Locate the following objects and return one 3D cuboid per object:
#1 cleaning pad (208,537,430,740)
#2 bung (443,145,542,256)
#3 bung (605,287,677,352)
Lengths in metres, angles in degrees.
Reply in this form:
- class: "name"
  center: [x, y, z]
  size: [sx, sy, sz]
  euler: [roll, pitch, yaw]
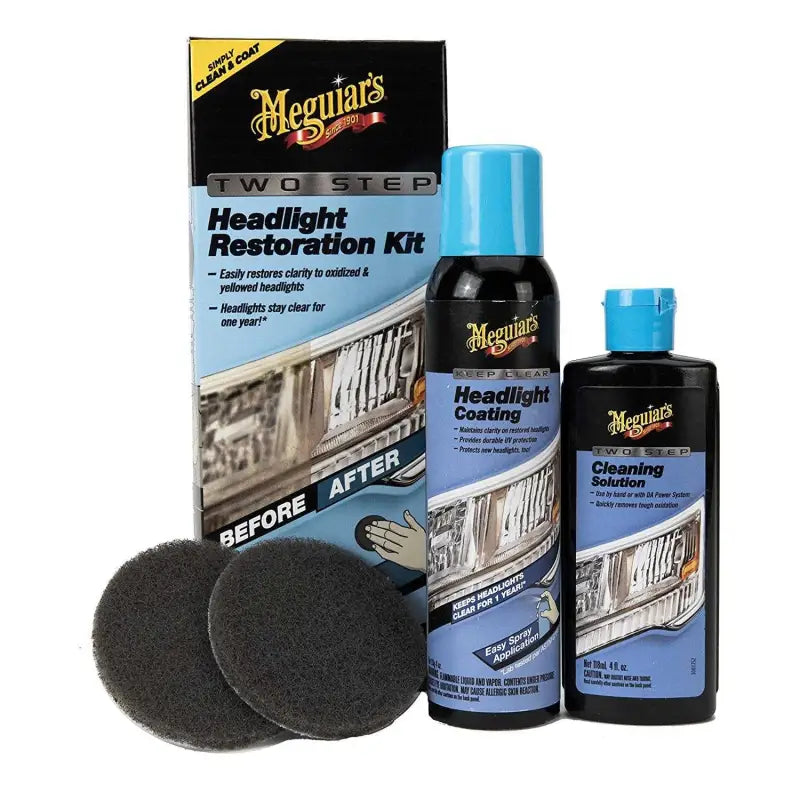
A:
- class: "cleaning pad"
  center: [-0.122, 0.368, 1.420]
  size: [0.332, 0.254, 0.207]
  euler: [-6, 13, -16]
- class: "bung"
  center: [0.134, -0.294, 1.350]
  size: [0.155, 0.165, 0.079]
  euler: [-2, 13, 5]
- class: "bung"
  center: [0.383, -0.121, 1.408]
  size: [0.129, 0.093, 0.117]
  euler: [-1, 5, -10]
